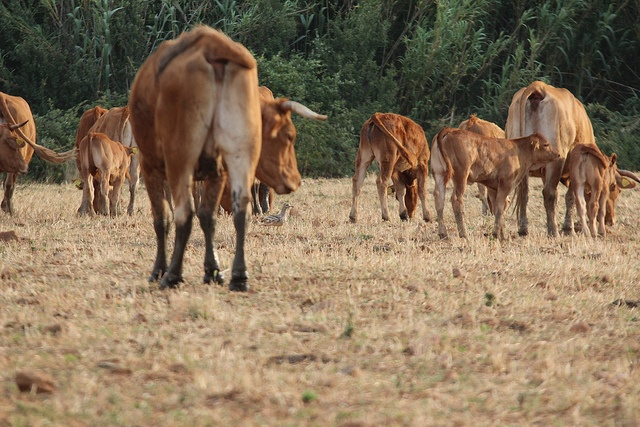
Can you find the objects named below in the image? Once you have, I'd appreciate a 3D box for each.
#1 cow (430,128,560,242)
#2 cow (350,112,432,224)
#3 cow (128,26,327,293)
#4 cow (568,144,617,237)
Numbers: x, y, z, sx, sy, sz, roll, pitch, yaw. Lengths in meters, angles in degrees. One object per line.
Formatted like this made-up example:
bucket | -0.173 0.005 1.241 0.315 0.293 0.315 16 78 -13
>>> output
cow | 4.113 -0.754 23.357 2.595 2.686 0.716 -2 5 -9
cow | 1.945 -1.236 25.859 2.159 2.875 1.590 -2 5 -4
cow | -2.477 -1.116 19.984 2.565 5.392 0.906 -1 5 2
cow | 6.738 -0.595 23.914 0.940 2.245 1.304 3 7 34
